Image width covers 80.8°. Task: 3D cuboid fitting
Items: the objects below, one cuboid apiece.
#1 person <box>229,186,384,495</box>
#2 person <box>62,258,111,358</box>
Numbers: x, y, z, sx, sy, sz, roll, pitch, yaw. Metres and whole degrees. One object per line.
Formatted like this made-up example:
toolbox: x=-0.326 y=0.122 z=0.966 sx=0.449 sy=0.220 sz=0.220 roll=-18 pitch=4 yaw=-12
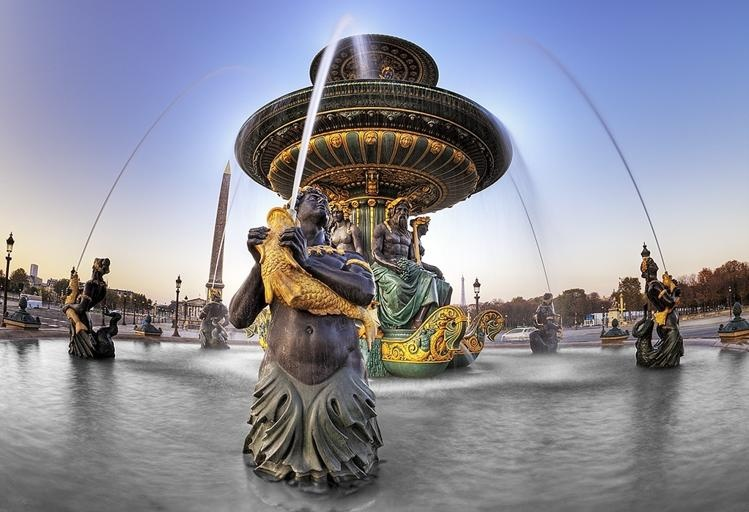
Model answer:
person: x=-0.591 y=0.653 z=4.089 sx=1.326 sy=2.650 sz=0.718 roll=1 pitch=-1 yaw=2
person: x=-6.359 y=1.180 z=9.889 sx=0.930 sy=2.217 sz=1.323 roll=2 pitch=-2 yaw=-43
